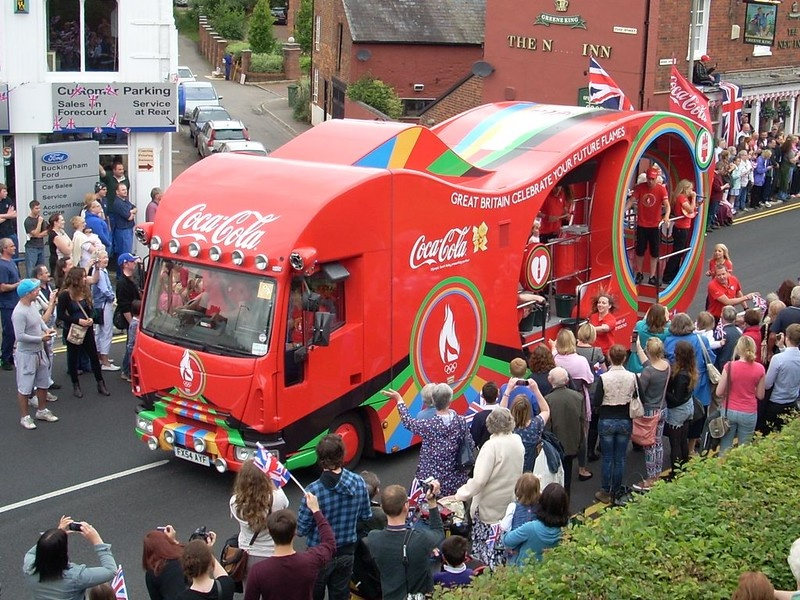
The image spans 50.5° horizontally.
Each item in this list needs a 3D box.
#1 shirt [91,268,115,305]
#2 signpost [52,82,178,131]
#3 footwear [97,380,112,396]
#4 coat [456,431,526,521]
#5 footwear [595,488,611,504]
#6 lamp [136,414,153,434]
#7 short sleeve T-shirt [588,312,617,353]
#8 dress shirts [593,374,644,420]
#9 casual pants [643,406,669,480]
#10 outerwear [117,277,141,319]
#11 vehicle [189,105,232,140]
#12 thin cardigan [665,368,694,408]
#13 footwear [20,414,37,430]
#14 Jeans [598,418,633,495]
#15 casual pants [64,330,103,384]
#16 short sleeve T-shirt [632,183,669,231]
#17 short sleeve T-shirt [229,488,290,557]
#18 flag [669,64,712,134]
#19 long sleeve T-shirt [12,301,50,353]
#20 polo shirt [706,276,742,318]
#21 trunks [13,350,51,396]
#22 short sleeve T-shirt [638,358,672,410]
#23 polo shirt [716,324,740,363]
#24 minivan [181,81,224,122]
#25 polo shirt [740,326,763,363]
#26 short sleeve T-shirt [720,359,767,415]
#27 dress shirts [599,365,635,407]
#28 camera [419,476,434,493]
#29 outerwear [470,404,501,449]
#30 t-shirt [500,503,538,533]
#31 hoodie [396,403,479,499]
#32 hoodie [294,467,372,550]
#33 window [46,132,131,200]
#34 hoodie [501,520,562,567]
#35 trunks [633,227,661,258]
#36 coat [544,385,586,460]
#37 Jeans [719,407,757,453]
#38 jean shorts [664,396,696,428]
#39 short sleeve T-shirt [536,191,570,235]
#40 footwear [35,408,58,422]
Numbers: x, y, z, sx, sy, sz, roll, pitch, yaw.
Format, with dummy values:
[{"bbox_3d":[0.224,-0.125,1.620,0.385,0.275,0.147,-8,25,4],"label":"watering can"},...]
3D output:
[{"bbox_3d":[-5.309,-0.230,15.288,0.403,0.767,0.572,-3,7,-13],"label":"shirt"},{"bbox_3d":[-6.875,-4.577,20.640,2.815,1.509,0.382,-5,-25,-20],"label":"signpost"},{"bbox_3d":[-5.066,1.520,14.511,0.375,0.319,0.139,4,12,45],"label":"footwear"},{"bbox_3d":[1.053,2.011,9.638,0.717,1.131,0.580,-8,32,-31],"label":"coat"},{"bbox_3d":[2.782,2.696,11.708,0.095,0.200,0.264,-10,28,-18],"label":"footwear"},{"bbox_3d":[-3.575,1.749,11.954,0.202,0.222,0.127,11,15,27],"label":"lamp"},{"bbox_3d":[3.283,0.523,14.021,0.373,0.667,0.412,12,16,20],"label":"short sleeve T-shirt"},{"bbox_3d":[2.915,1.267,11.444,0.664,0.811,0.476,-1,5,-5],"label":"dress shirts"},{"bbox_3d":[3.547,2.049,11.802,0.254,1.209,0.646,2,10,19],"label":"casual pants"},{"bbox_3d":[-4.660,-0.018,14.589,0.253,0.590,0.528,3,16,8],"label":"outerwear"},{"bbox_3d":[-8.513,-7.664,37.624,1.174,1.172,2.115,-2,30,-12],"label":"vehicle"},{"bbox_3d":[3.831,1.189,11.740,0.350,0.554,0.495,10,20,32],"label":"thin cardigan"},{"bbox_3d":[-5.779,1.929,13.246,0.129,0.173,0.331,-14,22,-42],"label":"footwear"},{"bbox_3d":[2.928,2.123,11.619,0.386,1.340,0.365,-2,18,0],"label":"Jeans"},{"bbox_3d":[-5.417,0.944,14.552,0.509,1.815,0.425,1,51,-12],"label":"casual pants"},{"bbox_3d":[4.887,-1.913,16.622,0.597,0.910,0.432,7,39,20],"label":"short sleeve T-shirt"},{"bbox_3d":[-1.476,2.304,8.825,0.459,0.374,0.613,-5,30,21],"label":"short sleeve T-shirt"},{"bbox_3d":[7.480,-5.215,21.725,1.186,1.773,0.183,15,55,21],"label":"flag"},{"bbox_3d":[-5.738,0.440,13.360,0.563,0.826,0.717,-1,10,-5],"label":"long sleeve T-shirt"},{"bbox_3d":[5.809,-0.047,15.244,0.476,0.584,0.368,-13,36,-9],"label":"polo shirt"},{"bbox_3d":[-5.737,1.059,13.326,0.315,0.711,0.492,18,22,29],"label":"trunks"},{"bbox_3d":[3.474,1.190,11.572,0.532,0.698,0.315,-11,17,-21],"label":"short sleeve T-shirt"},{"bbox_3d":[5.016,0.652,13.105,0.181,0.575,0.395,13,6,1],"label":"polo shirt"},{"bbox_3d":[-9.502,-9.450,40.124,1.480,1.373,2.510,-3,13,-13],"label":"minivan"},{"bbox_3d":[5.109,0.650,12.371,0.252,0.602,0.404,-3,13,3],"label":"polo shirt"},{"bbox_3d":[4.743,1.222,11.720,0.545,0.893,0.423,4,12,19],"label":"short sleeve T-shirt"},{"bbox_3d":[2.908,1.069,11.353,0.446,0.634,0.362,-2,36,11],"label":"dress shirts"},{"bbox_3d":[0.287,1.856,8.539,0.103,0.146,0.274,-2,11,-6],"label":"camera"},{"bbox_3d":[1.026,1.528,10.083,0.423,0.718,0.243,-1,17,-2],"label":"outerwear"},{"bbox_3d":[1.222,2.236,8.767,0.382,0.481,0.244,-2,1,3],"label":"t-shirt"},{"bbox_3d":[0.449,1.744,10.587,0.818,1.377,1.015,-11,33,-16],"label":"hoodie"},{"bbox_3d":[-0.668,2.106,8.761,0.773,0.925,0.539,-5,17,-22],"label":"hoodie"},{"bbox_3d":[-7.542,-3.468,20.631,2.188,2.088,0.140,-1,-9,-12],"label":"window"},{"bbox_3d":[1.298,2.353,8.193,0.319,0.410,0.254,16,25,-18],"label":"hoodie"},{"bbox_3d":[4.880,-1.152,16.723,0.424,0.702,0.228,4,11,29],"label":"trunks"},{"bbox_3d":[2.157,1.537,11.127,0.542,0.931,0.303,-7,21,4],"label":"coat"},{"bbox_3d":[4.570,1.735,11.450,0.355,0.804,0.265,15,55,26],"label":"Jeans"},{"bbox_3d":[3.896,1.568,11.873,0.320,0.416,0.484,1,17,31],"label":"jean shorts"},{"bbox_3d":[2.650,-1.540,14.786,0.507,0.997,0.466,-6,17,-32],"label":"short sleeve T-shirt"},{"bbox_3d":[-5.601,1.830,13.588,0.398,0.237,0.169,6,11,2],"label":"footwear"}]
